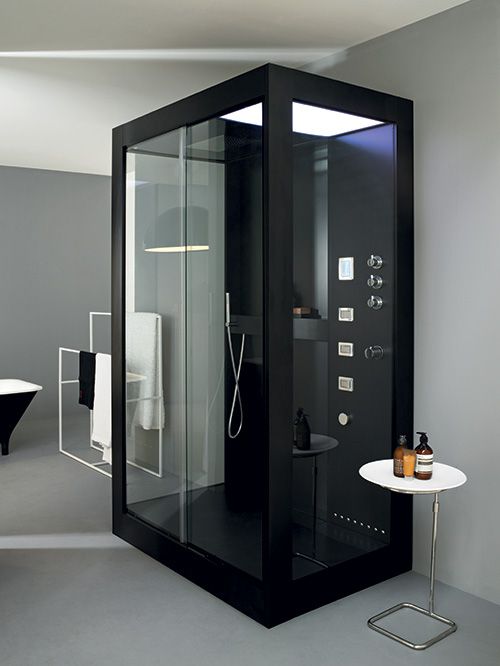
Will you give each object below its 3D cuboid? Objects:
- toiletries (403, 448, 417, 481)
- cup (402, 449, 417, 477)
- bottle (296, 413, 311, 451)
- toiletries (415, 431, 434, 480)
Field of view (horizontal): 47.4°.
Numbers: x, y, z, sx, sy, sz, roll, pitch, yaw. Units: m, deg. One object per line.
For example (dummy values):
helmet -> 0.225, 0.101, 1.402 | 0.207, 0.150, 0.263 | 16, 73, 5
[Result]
toiletries -> 0.602, 0.490, 2.136 | 0.042, 0.086, 0.114 | 0, 1, 18
cup -> 0.602, 0.489, 2.136 | 0.042, 0.084, 0.114 | 0, 1, 18
bottle -> 0.220, 0.410, 2.387 | 0.078, 0.179, 0.117 | 1, -4, -3
toiletries -> 0.670, 0.462, 2.181 | 0.064, 0.146, 0.210 | 0, 1, 17
